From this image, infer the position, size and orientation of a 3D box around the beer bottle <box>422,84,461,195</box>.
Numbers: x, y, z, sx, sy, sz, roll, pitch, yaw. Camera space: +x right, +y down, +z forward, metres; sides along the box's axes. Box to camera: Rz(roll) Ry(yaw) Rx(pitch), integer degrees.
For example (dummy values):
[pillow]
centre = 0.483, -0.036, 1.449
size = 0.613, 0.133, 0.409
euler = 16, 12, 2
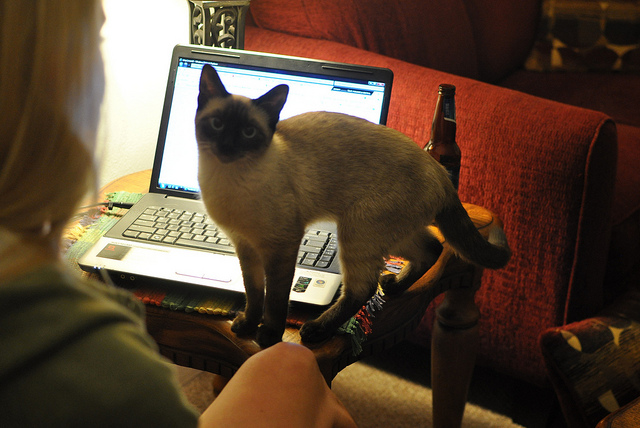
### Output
[beer bottle]
centre = 0.248, -0.119, 1.003
size = 0.078, 0.266, 0.069
euler = -6, 19, -16

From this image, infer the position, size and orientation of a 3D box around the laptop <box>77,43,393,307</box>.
[laptop]
centre = -0.158, -0.099, 0.937
size = 0.572, 0.306, 0.500
euler = 3, 28, 3

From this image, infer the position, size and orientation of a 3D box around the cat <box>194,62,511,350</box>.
[cat]
centre = 0.063, -0.027, 0.845
size = 0.534, 0.448, 0.266
euler = -5, 12, -12
